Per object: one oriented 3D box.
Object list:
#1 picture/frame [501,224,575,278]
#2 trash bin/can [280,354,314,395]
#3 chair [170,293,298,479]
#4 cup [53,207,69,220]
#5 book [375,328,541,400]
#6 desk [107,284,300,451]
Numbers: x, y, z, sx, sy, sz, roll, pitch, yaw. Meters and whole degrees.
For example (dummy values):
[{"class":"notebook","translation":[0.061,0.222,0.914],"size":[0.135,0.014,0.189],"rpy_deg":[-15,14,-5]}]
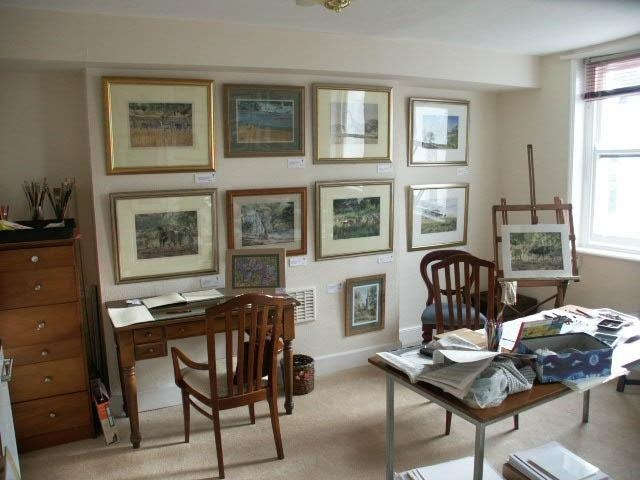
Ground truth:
[{"class":"picture/frame","translation":[1.882,0.106,4.291],"size":[0.448,0.370,0.023],"rpy_deg":[0,-6,-4]},{"class":"trash bin/can","translation":[-0.180,1.174,4.397],"size":[0.244,0.221,0.230],"rpy_deg":[5,5,11]},{"class":"chair","translation":[-0.681,0.944,3.730],"size":[0.837,1.261,0.935],"rpy_deg":[-4,7,-18]},{"class":"cup","translation":[-2.062,-0.209,3.928],"size":[0.079,0.099,0.266],"rpy_deg":[-5,7,-25]},{"class":"book","translation":[0.762,0.718,2.761],"size":[0.412,0.146,0.429],"rpy_deg":[-8,16,-38]},{"class":"desk","translation":[-0.934,1.040,4.118],"size":[1.430,0.993,0.724],"rpy_deg":[-4,6,-22]}]
